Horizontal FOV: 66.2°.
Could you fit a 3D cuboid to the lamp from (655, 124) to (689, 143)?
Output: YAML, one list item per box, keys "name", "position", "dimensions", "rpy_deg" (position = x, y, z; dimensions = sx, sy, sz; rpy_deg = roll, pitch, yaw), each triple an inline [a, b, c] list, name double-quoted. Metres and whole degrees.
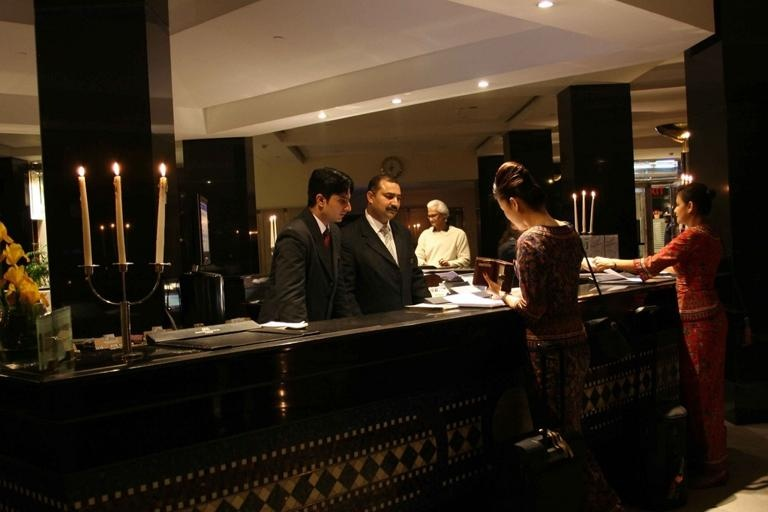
- name: "lamp"
  position: [3.427, -1.489, 7.000]
  dimensions: [0.349, 0.229, 0.563]
  rpy_deg: [14, 7, 18]

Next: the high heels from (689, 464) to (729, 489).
- name: "high heels"
  position: [2.731, 1.832, 5.017]
  dimensions: [0.305, 0.190, 0.174]
  rpy_deg: [-7, 3, -8]

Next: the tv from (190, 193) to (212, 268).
- name: "tv"
  position: [-1.738, -0.224, 5.676]
  dimensions: [0.219, 0.738, 0.514]
  rpy_deg: [9, 7, -17]

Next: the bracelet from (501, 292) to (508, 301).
- name: "bracelet"
  position: [0.868, 0.289, 4.244]
  dimensions: [0.039, 0.038, 0.040]
  rpy_deg: [2, 0, -1]

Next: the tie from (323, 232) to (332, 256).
- name: "tie"
  position: [-0.437, -0.106, 4.647]
  dimensions: [0.053, 0.149, 0.110]
  rpy_deg: [1, -1, 24]
